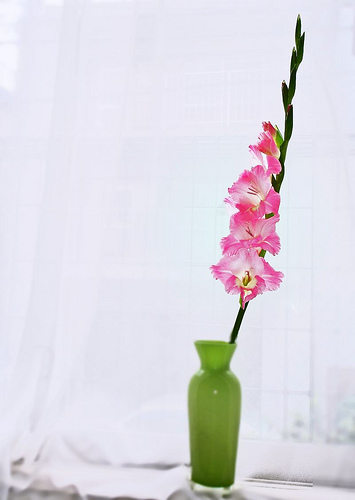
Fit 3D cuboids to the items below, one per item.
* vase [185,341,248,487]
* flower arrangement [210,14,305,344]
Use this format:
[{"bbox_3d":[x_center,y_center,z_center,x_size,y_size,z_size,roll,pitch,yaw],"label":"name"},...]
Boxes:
[{"bbox_3d":[0.066,0.304,1.089,0.106,0.273,0.072,-6,10,2],"label":"vase"},{"bbox_3d":[0.156,-0.136,1.120,0.140,0.569,0.288,-1,11,28],"label":"flower arrangement"}]
